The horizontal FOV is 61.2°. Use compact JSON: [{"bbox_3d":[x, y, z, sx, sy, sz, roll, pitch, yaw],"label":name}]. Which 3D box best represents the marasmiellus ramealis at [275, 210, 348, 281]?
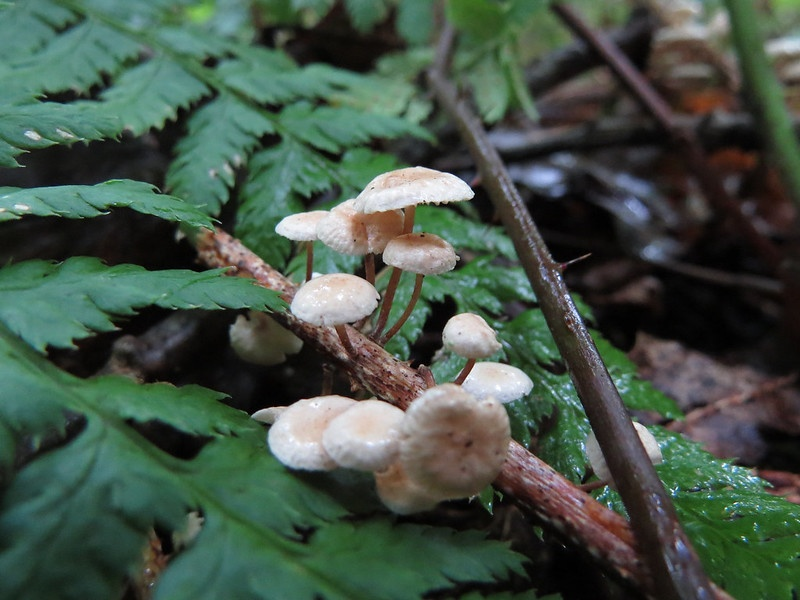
[{"bbox_3d":[-0.425,-0.250,3.079,0.298,0.333,0.315,-10,38,-8],"label":"marasmiellus ramealis"}]

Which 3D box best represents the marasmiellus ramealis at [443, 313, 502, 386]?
[{"bbox_3d":[0.281,0.155,2.736,0.188,0.089,0.208,-31,65,-11],"label":"marasmiellus ramealis"}]

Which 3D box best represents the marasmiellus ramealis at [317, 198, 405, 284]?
[{"bbox_3d":[-0.163,-0.276,2.908,0.276,0.272,0.275,-19,52,-12],"label":"marasmiellus ramealis"}]

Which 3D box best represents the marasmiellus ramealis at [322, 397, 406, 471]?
[{"bbox_3d":[-0.136,0.497,2.595,0.303,0.079,0.323,-1,34,-9],"label":"marasmiellus ramealis"}]
